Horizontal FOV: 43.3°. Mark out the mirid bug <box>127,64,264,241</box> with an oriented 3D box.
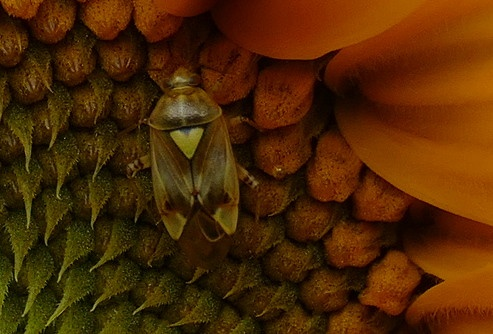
[{"bbox_3d":[-0.112,-0.008,1.323,0.217,0.393,0.098,-5,0,5],"label":"mirid bug"}]
